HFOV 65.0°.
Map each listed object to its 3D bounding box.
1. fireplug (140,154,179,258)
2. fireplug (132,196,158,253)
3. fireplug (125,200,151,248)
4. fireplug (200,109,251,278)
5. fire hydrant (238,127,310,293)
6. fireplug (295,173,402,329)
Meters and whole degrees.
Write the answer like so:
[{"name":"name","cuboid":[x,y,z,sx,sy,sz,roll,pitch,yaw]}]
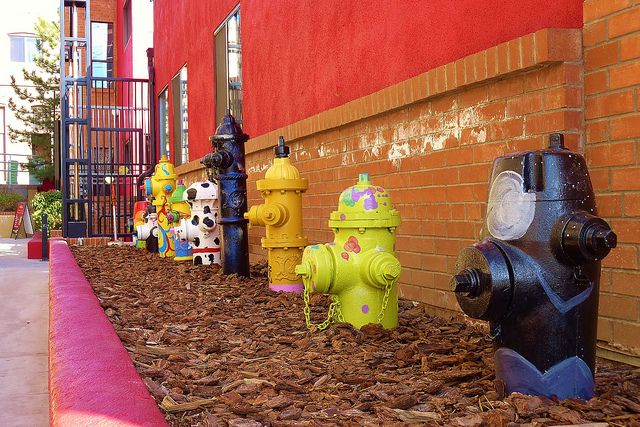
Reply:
[{"name":"fireplug","cuboid":[-2.370,-0.090,7.476,0.513,1.465,0.579,2,4,9]},{"name":"fireplug","cuboid":[-2.773,0.222,8.074,0.459,0.906,0.473,10,15,31]},{"name":"fireplug","cuboid":[-3.167,0.285,8.915,0.251,0.651,0.407,6,14,12]},{"name":"fireplug","cuboid":[-0.977,-0.199,5.154,0.545,1.703,0.747,2,10,8]},{"name":"fire hydrant","cuboid":[-0.392,-0.011,4.529,0.528,1.357,0.459,1,8,18]},{"name":"fireplug","cuboid":[0.251,0.232,3.858,0.803,1.376,0.905,1,1,-13]}]
